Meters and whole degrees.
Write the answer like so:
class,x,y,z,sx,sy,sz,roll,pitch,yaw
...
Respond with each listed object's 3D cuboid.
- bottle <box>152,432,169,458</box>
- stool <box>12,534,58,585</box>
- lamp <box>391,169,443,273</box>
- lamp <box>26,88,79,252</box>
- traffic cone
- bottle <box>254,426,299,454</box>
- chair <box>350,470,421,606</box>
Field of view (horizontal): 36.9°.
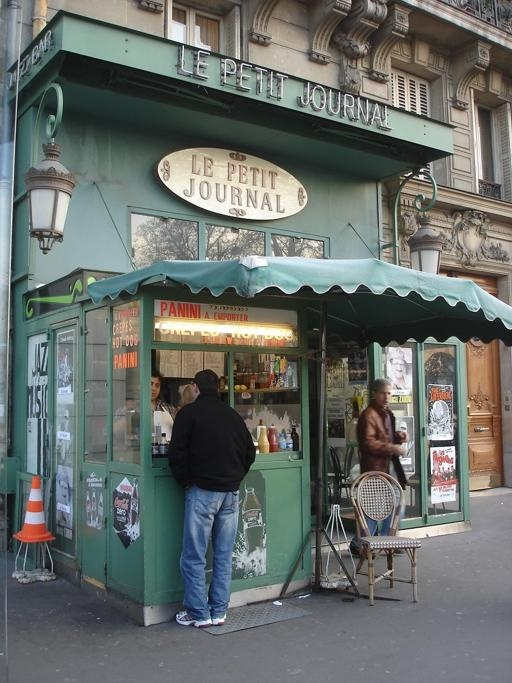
class,x,y,z,sx,sy,sz,roll,pitch,yaw
bottle,-0.741,0.808,6.040,0.081,0.184,0.203,-1,-2,30
stool,-2.146,2.106,7.392,0.370,0.420,0.337,10,-13,-37
lamp,2.359,-1.956,11.610,0.714,1.642,2.624,0,-2,12
lamp,-2.092,-1.825,7.876,0.439,2.046,2.295,1,-2,-14
traffic cone,-2.139,1.585,7.352,0.521,0.844,0.525,7,-9,-27
bottle,0.175,0.858,6.798,0.449,0.223,0.165,2,-2,-34
chair,1.120,1.674,6.731,0.472,1.106,0.526,3,-6,-18
